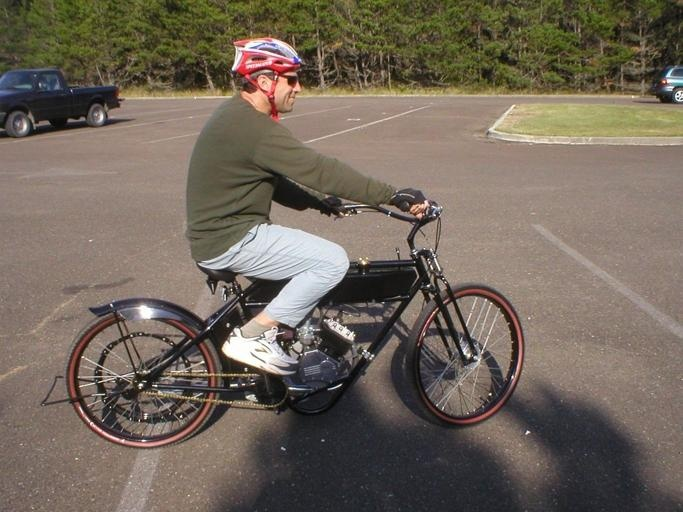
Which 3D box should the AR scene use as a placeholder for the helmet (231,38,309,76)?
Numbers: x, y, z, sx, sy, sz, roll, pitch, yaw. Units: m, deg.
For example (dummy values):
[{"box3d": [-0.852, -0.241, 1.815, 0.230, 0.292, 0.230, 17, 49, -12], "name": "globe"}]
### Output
[{"box3d": [-0.483, -1.242, 3.808, 0.343, 0.186, 0.252, 7, 18, -6], "name": "helmet"}]
